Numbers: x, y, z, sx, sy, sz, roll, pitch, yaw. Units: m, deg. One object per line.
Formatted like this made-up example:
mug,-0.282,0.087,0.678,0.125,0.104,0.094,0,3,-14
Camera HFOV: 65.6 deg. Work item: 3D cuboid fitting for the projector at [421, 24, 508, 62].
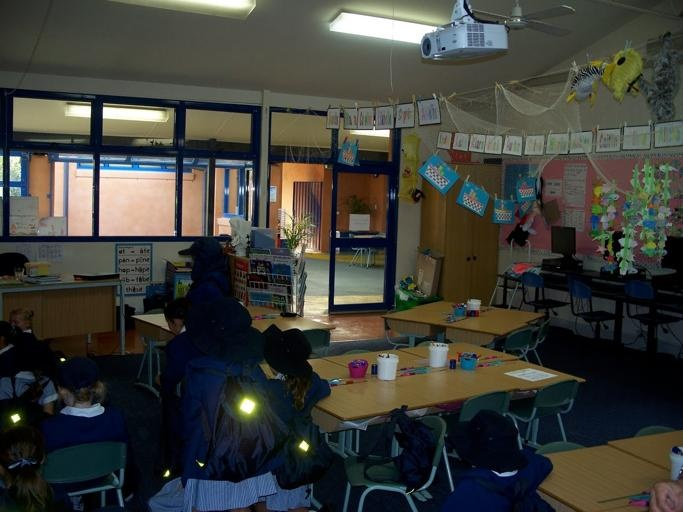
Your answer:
projector,1.064,-1.698,4.368,0.487,0.195,0.375,-5,11,-18

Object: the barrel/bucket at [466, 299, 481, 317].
barrel/bucket,1.616,0.629,6.465,0.179,0.195,0.181,0,6,0

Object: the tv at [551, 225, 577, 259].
tv,3.676,-0.238,8.733,0.219,0.638,0.535,-1,2,-36

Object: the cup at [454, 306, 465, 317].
cup,1.427,0.670,6.334,0.105,0.090,0.115,1,5,0

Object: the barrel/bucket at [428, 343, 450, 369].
barrel/bucket,0.825,0.850,4.528,0.188,0.184,0.179,2,1,0

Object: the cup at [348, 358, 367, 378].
cup,0.131,0.893,4.220,0.121,0.095,0.126,-2,0,0

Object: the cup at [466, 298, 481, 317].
cup,1.625,0.631,6.464,0.183,0.199,0.185,0,5,0

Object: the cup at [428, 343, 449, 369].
cup,0.825,0.866,4.631,0.178,0.184,0.189,2,0,0

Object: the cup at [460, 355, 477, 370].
cup,1.101,0.899,4.528,0.167,0.122,0.147,1,2,-3

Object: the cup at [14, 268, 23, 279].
cup,-3.934,0.217,6.486,0.121,0.137,0.123,2,-1,0

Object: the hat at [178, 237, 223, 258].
hat,-1.843,-0.110,6.814,0.476,0.179,0.328,1,4,-1

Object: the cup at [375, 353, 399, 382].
cup,0.366,0.873,4.173,0.171,0.172,0.176,0,3,0

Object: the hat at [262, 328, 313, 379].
hat,-0.336,0.592,3.097,0.279,0.243,0.105,39,-38,-1

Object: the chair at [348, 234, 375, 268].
chair,0.534,-0.076,13.565,0.698,0.991,0.681,4,4,40

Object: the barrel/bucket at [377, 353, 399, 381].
barrel/bucket,0.377,0.890,4.258,0.172,0.169,0.173,1,0,0

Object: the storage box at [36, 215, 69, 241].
storage box,-4.472,-0.443,8.215,0.477,0.357,0.257,-2,3,-40
